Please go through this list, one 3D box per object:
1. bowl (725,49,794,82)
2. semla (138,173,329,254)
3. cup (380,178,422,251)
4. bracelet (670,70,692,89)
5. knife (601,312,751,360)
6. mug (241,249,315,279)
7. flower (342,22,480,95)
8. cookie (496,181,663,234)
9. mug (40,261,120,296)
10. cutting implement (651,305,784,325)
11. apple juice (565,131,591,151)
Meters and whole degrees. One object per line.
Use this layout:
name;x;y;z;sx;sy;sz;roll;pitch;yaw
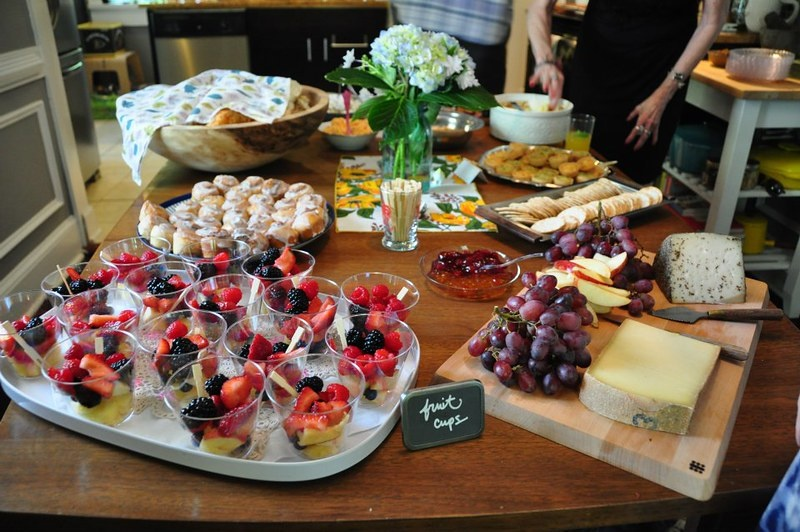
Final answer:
bowl;2.004;-1.107;3.067;0.250;0.115;0.257;-1;16;0
semla;-0.727;-0.226;2.039;0.417;0.129;0.454;-4;8;33
cup;0.000;-0.168;1.902;0.135;0.202;0.134;0;19;0
bracelet;1.504;-1.002;2.955;0.126;0.078;0.055;-24;38;-32
knife;0.738;0.187;1.453;0.285;0.025;0.040;16;42;20
mug;-0.350;-0.009;1.598;0.126;0.057;0.122;-11;25;-29
flower;0.040;-0.691;1.836;0.394;0.228;0.285;-4;31;5
cookie;0.691;-0.225;2.032;0.510;0.049;0.267;-13;28;-21
mug;-0.899;0.038;1.544;0.147;0.073;0.141;-7;20;-23
cutting implement;0.887;0.136;1.556;0.231;0.025;0.054;1;17;10
apple juice;0.826;-0.581;2.569;0.110;0.077;0.105;-1;26;0
